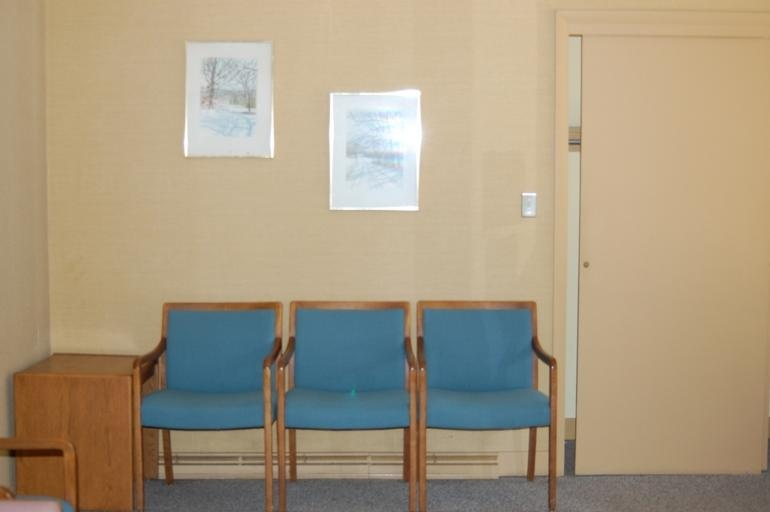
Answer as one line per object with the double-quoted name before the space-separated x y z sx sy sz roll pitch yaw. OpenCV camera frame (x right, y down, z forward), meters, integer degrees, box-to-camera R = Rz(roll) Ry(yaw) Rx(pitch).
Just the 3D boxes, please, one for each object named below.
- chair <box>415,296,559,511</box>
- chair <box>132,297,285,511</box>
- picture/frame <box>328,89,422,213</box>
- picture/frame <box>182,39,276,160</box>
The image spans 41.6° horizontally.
"chair" 0.702 1.031 7.073 0.957 1.464 0.486 0 0 2
"chair" -1.218 1.032 7.088 0.992 1.466 0.531 0 0 -4
"picture/frame" -0.071 -0.790 7.358 0.793 1.029 0.040 0 3 2
"picture/frame" -1.125 -1.173 7.343 0.758 0.974 0.039 0 -1 -1
